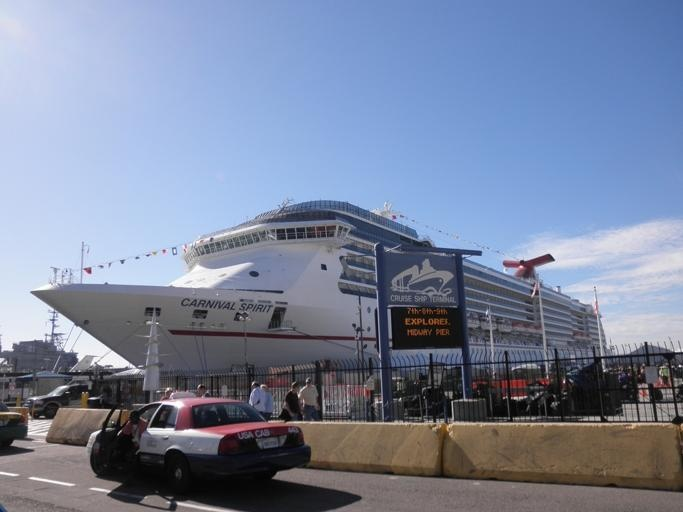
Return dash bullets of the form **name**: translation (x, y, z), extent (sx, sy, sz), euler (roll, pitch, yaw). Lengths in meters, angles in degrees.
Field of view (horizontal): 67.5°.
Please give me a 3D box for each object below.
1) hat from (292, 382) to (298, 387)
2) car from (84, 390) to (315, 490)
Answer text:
- **hat**: translation (-1.235, 3.310, 13.132), extent (0.143, 0.122, 0.266), euler (-2, -5, -3)
- **car**: translation (-2.622, 3.189, 8.964), extent (3.002, 0.841, 2.040), euler (-5, -13, 37)
